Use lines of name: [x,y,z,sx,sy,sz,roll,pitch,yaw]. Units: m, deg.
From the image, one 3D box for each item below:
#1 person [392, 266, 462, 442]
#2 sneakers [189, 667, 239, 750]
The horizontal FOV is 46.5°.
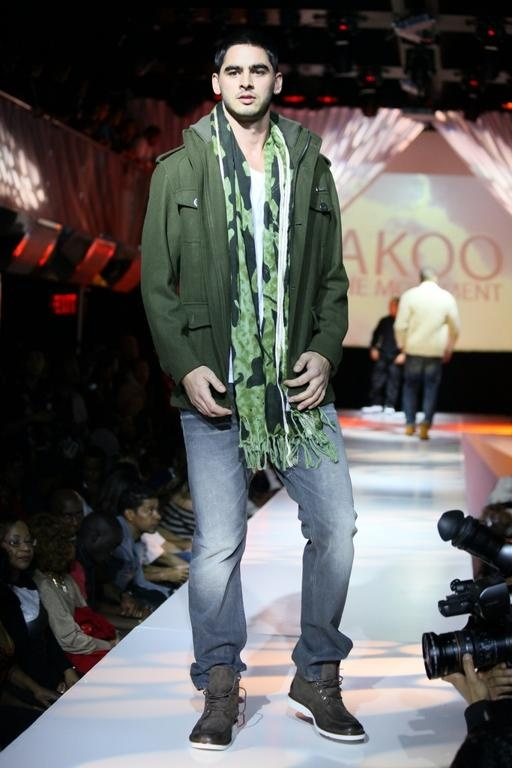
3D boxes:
person: [1.631,-0.242,5.929,0.586,1.800,0.475,21,31,36]
sneakers: [-0.055,0.588,1.079,0.060,0.095,0.153,0,-7,8]
